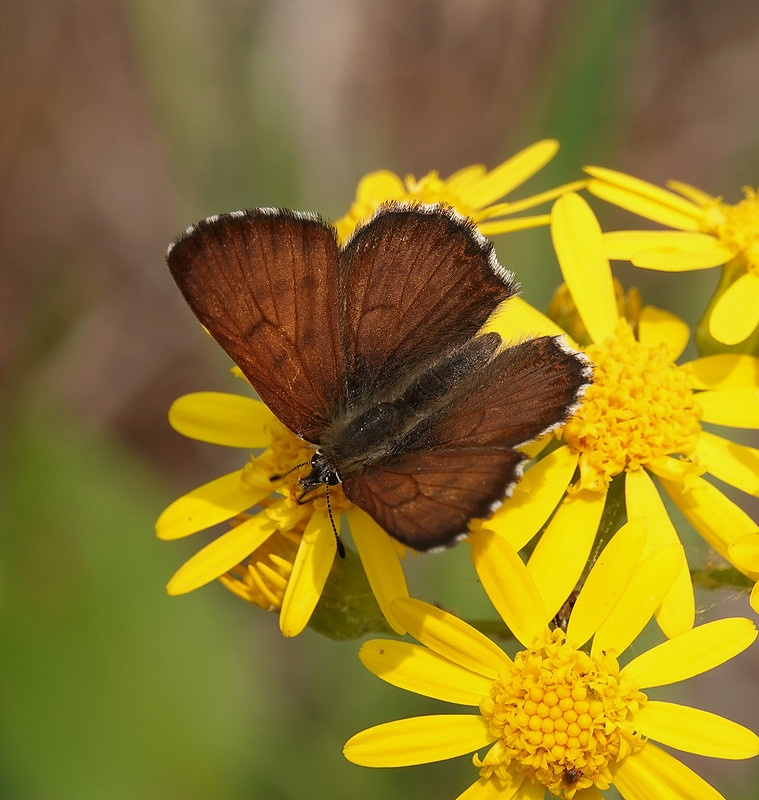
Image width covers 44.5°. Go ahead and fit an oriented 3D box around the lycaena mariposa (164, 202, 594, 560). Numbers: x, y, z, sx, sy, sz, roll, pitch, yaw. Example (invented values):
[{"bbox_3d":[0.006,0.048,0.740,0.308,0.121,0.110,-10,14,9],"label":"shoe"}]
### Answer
[{"bbox_3d":[0.045,-0.066,1.600,0.571,0.615,0.524,-23,20,-9],"label":"lycaena mariposa"}]
